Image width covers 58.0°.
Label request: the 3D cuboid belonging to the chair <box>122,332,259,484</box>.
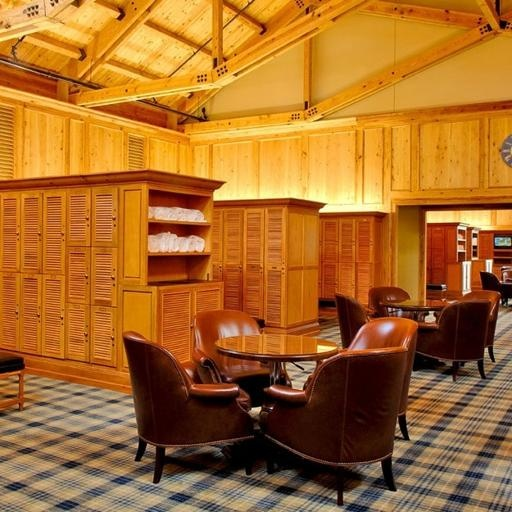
[{"bbox_3d":[-0.442,0.830,3.024,0.877,0.887,0.792,1,0,-26],"label":"chair"}]

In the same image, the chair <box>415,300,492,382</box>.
[{"bbox_3d":[2.392,0.957,5.444,0.790,0.852,0.798,1,-1,-31],"label":"chair"}]

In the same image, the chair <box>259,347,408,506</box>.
[{"bbox_3d":[0.424,0.848,2.740,0.852,0.854,0.760,6,-7,-38],"label":"chair"}]

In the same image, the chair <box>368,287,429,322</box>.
[{"bbox_3d":[1.994,0.659,6.704,0.596,0.637,0.593,1,-3,-20],"label":"chair"}]

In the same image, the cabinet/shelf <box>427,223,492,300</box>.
[{"bbox_3d":[6.358,0.156,14.632,0.938,1.633,2.659,0,0,31],"label":"cabinet/shelf"}]
